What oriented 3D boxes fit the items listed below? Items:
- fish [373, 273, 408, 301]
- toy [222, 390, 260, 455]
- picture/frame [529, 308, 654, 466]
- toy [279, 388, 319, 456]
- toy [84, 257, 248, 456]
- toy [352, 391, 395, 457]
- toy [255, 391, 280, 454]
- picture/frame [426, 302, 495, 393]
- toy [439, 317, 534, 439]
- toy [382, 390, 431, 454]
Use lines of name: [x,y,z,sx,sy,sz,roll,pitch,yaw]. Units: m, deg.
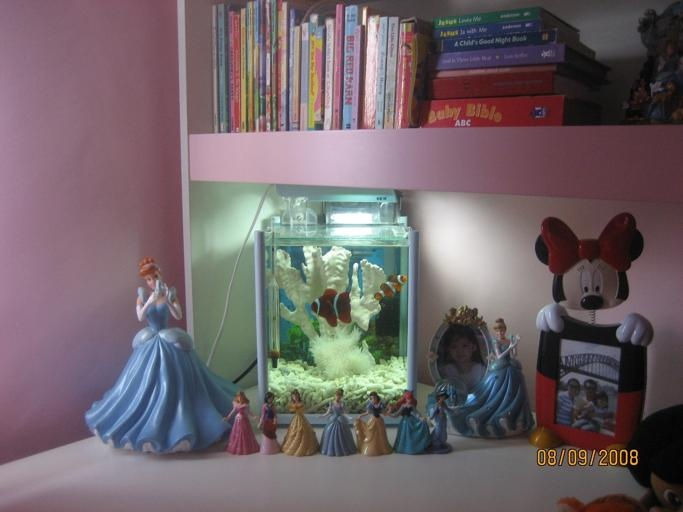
fish: [0.136,0.089,1.648,0.097,0.043,0.042,-39,4,14]
toy: [-0.266,0.449,1.611,0.089,0.162,0.048,-2,8,-13]
picture/frame: [0.642,0.332,1.567,0.265,0.382,0.041,6,15,30]
toy: [-0.109,0.444,1.637,0.101,0.157,0.123,0,9,1]
toy: [-0.446,0.225,1.808,0.475,0.542,0.466,-4,8,-12]
toy: [0.086,0.454,1.622,0.142,0.236,0.085,-2,-2,9]
toy: [-0.195,0.450,1.624,0.055,0.149,0.073,-2,9,-15]
picture/frame: [0.339,0.269,1.677,0.199,0.027,0.292,-1,53,13]
toy: [0.391,0.320,1.758,0.293,0.426,0.281,-1,2,-4]
toy: [0.173,0.439,1.614,0.083,0.161,0.132,-6,11,-38]
